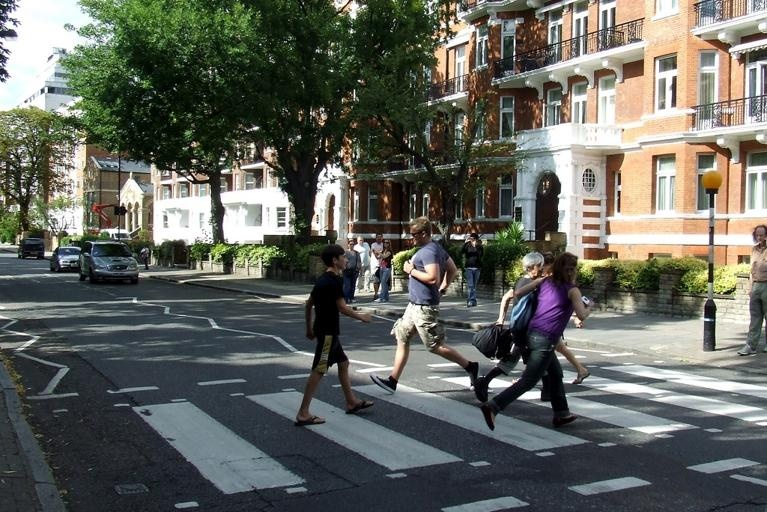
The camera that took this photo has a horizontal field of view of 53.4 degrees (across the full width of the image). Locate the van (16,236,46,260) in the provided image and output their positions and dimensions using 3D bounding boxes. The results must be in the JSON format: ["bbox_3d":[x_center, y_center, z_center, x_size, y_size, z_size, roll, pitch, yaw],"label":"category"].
[{"bbox_3d":[-33.094,-0.723,71.326,1.703,1.273,2.571,-1,7,-32],"label":"van"}]

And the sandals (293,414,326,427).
[{"bbox_3d":[-1.073,2.405,11.134,0.327,0.101,0.178,-3,7,-14],"label":"sandals"}]

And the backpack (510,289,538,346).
[{"bbox_3d":[2.061,0.801,11.123,0.376,0.977,0.264,-1,30,-13],"label":"backpack"}]

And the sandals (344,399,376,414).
[{"bbox_3d":[-0.355,2.305,11.659,0.433,0.114,0.167,-19,22,-19],"label":"sandals"}]

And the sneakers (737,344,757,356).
[{"bbox_3d":[7.497,1.935,15.747,0.495,0.212,0.171,1,-1,-23],"label":"sneakers"}]

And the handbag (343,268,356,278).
[{"bbox_3d":[-1.141,0.554,25.393,0.407,0.373,0.277,2,-6,-8],"label":"handbag"}]

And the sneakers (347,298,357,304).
[{"bbox_3d":[-1.067,1.493,25.465,0.354,0.144,0.127,-3,4,-42],"label":"sneakers"}]

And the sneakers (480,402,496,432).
[{"bbox_3d":[1.491,2.244,10.789,0.187,0.449,0.166,-11,11,-3],"label":"sneakers"}]

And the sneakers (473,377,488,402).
[{"bbox_3d":[1.487,2.045,11.740,0.208,0.439,0.163,-14,4,-27],"label":"sneakers"}]

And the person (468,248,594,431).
[{"bbox_3d":[2.317,1.220,11.012,1.417,2.010,0.937,-1,0,-42],"label":"person"}]

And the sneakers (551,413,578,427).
[{"bbox_3d":[2.672,2.397,11.169,0.404,0.143,0.167,-12,-10,10],"label":"sneakers"}]

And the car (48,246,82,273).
[{"bbox_3d":[-19.239,0.161,45.877,1.488,1.535,2.073,-1,0,-26],"label":"car"}]

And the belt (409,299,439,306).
[{"bbox_3d":[0.658,0.743,12.176,0.448,0.074,0.213,-1,0,1],"label":"belt"}]

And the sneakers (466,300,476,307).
[{"bbox_3d":[2.792,1.489,23.971,0.124,0.156,0.363,2,-4,21],"label":"sneakers"}]

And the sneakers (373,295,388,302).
[{"bbox_3d":[-0.088,1.459,25.899,0.559,0.226,0.178,5,-5,-14],"label":"sneakers"}]

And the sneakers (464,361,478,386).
[{"bbox_3d":[1.444,1.852,12.433,0.211,0.490,0.168,-9,19,-6],"label":"sneakers"}]
